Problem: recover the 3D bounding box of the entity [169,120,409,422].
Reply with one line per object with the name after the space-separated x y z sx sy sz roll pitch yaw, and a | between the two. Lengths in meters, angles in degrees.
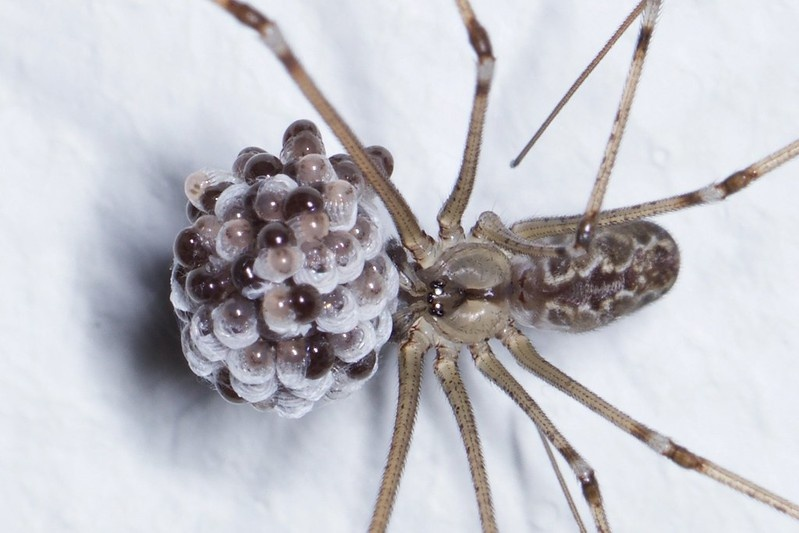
-0.246 0.019 1.979 0.503 0.644 0.266 -10 9 -16 | entity
